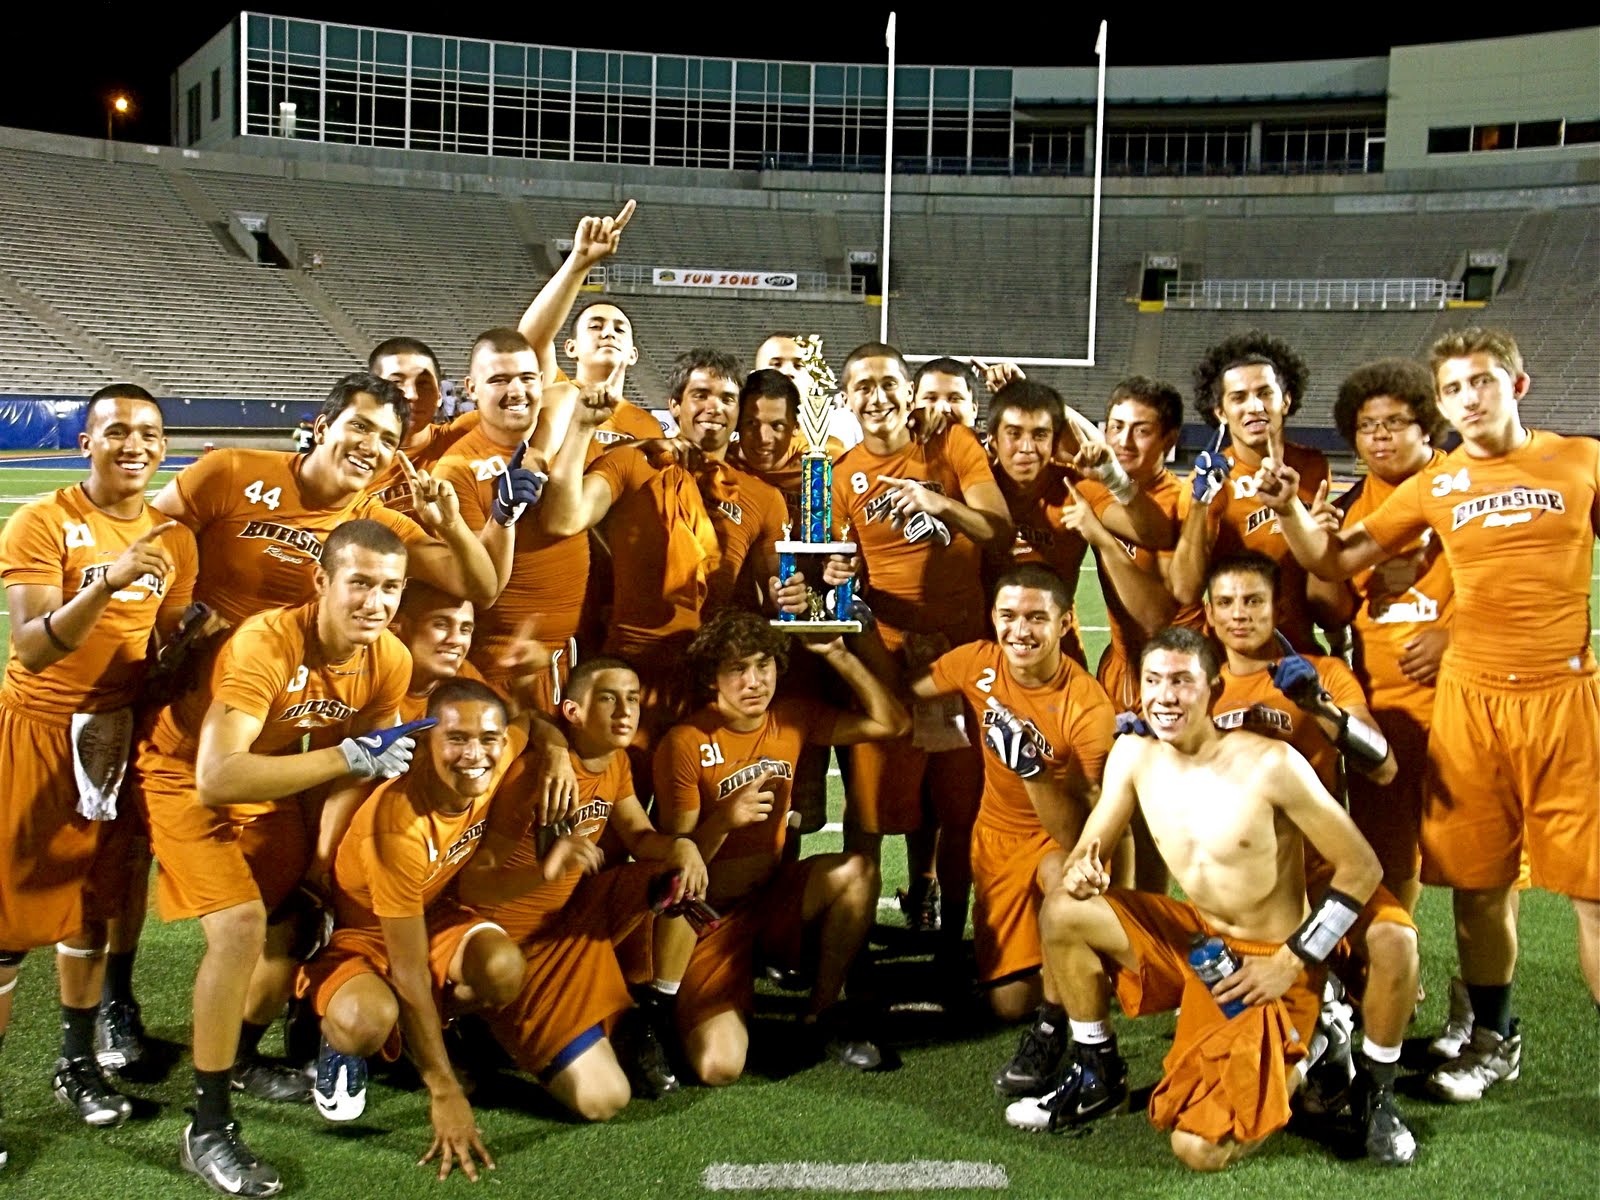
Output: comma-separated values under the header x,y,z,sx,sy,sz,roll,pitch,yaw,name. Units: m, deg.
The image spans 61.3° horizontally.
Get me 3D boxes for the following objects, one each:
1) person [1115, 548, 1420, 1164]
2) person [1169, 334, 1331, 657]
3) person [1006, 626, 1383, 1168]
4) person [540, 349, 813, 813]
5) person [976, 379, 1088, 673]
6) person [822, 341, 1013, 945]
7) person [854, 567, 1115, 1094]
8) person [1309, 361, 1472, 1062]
x,y,z,sx,sy,sz,roll,pitch,yaw,name
1.570,0.862,4.712,1.011,2.005,0.962,3,5,17,person
1.815,-0.524,5.340,0.614,1.599,0.529,1,5,0,person
1.370,0.978,4.844,1.521,2.293,0.711,2,5,5,person
-0.543,-0.085,5.757,0.861,1.872,0.825,-3,16,-26,person
1.018,-0.303,5.878,0.439,1.282,0.325,0,9,-5,person
0.489,0.232,5.918,1.021,2.648,0.894,0,2,5,person
0.694,0.725,5.062,0.805,1.623,0.778,2,12,-8,person
2.210,0.347,5.116,0.592,2.473,0.548,8,10,23,person
